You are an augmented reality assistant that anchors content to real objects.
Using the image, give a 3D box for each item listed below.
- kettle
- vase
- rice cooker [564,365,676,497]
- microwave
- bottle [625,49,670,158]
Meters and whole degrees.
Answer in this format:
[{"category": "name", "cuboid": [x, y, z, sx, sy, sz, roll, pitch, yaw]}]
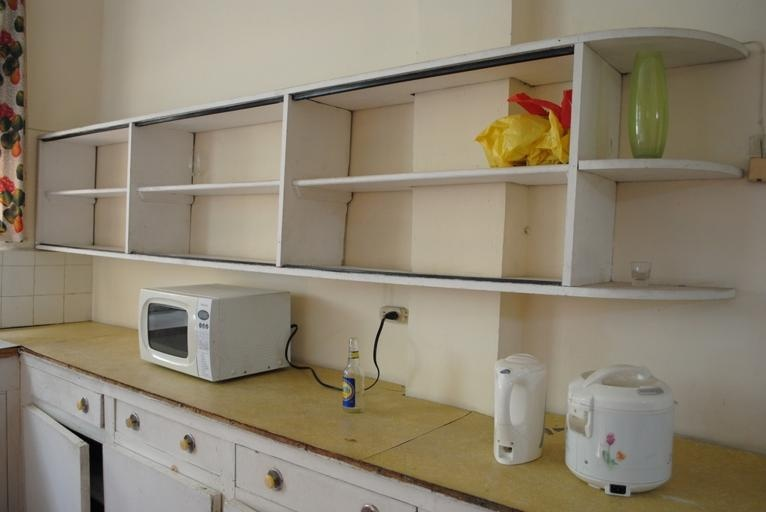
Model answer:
[{"category": "kettle", "cuboid": [0.504, 0.562, 2.323, 0.215, 0.363, 0.353, 2, 0, 41]}, {"category": "vase", "cuboid": [1.004, -0.569, 2.274, 0.160, 0.395, 0.164, 0, 3, 8]}, {"category": "rice cooker", "cuboid": [0.883, 0.577, 2.255, 0.359, 0.436, 0.332, 9, 5, 22]}, {"category": "microwave", "cuboid": [-0.901, 0.383, 3.138, 0.654, 0.410, 0.503, 2, 1, 40]}, {"category": "bottle", "cuboid": [0.983, -0.561, 2.216, 0.099, 0.371, 0.176, 6, 9, 31]}]
